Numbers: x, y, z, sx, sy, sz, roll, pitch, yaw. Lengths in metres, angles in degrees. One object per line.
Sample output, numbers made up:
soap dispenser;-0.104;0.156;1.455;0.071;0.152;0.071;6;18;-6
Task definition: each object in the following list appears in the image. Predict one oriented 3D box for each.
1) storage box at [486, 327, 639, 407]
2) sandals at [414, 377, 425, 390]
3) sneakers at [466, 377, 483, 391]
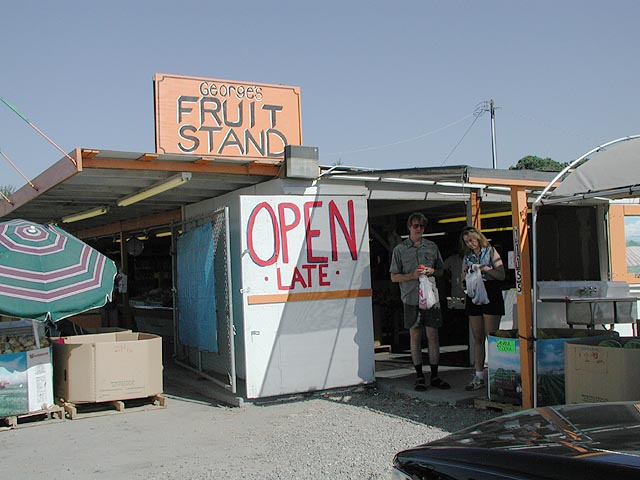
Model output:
storage box;2.744;1.333;6.888;1.102;0.692;1.117;-1;-1;-18
sandals;1.405;1.990;8.135;0.172;0.173;0.287;-3;0;10
sneakers;2.098;1.950;7.909;0.303;0.123;0.114;1;-7;-43
